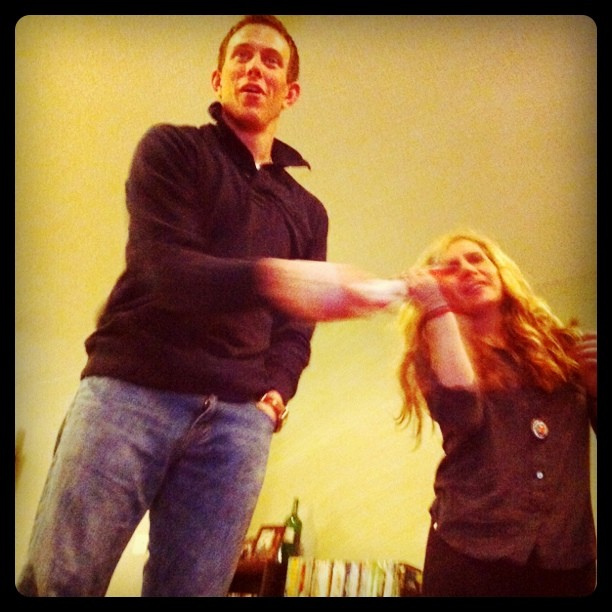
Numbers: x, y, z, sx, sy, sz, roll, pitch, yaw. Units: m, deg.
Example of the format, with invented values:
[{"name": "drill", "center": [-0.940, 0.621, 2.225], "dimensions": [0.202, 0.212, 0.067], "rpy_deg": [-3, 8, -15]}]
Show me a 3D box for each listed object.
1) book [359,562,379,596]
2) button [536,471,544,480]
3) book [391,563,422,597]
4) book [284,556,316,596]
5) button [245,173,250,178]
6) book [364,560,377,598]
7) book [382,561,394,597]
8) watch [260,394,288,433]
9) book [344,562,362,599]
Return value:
[{"name": "book", "center": [0.231, 0.996, 2.383], "dimensions": [0.094, 0.108, 0.032], "rpy_deg": [8, -5, -20]}, {"name": "button", "center": [0.871, 0.632, 2.412], "dimensions": [0.030, 0.023, 0.004], "rpy_deg": [5, -1, -15]}, {"name": "book", "center": [0.374, 1.017, 2.380], "dimensions": [0.101, 0.132, 0.029], "rpy_deg": [4, 1, -10]}, {"name": "book", "center": [-0.015, 1.001, 2.363], "dimensions": [0.127, 0.056, 0.210], "rpy_deg": [0, 18, 2]}, {"name": "button", "center": [-0.220, -0.483, 2.390], "dimensions": [0.013, 0.015, 0.003], "rpy_deg": [-10, 16, 6]}, {"name": "book", "center": [0.237, 1.002, 2.371], "dimensions": [0.034, 0.121, 0.010], "rpy_deg": [4, -1, -12]}, {"name": "book", "center": [0.302, 1.004, 2.375], "dimensions": [0.035, 0.112, 0.009], "rpy_deg": [4, -1, -1]}, {"name": "watch", "center": [-0.118, 0.392, 2.360], "dimensions": [0.105, 0.126, 0.013], "rpy_deg": [5, -1, -25]}, {"name": "book", "center": [0.174, 1.002, 2.364], "dimensions": [0.025, 0.112, 0.103], "rpy_deg": [8, -1, 5]}]
